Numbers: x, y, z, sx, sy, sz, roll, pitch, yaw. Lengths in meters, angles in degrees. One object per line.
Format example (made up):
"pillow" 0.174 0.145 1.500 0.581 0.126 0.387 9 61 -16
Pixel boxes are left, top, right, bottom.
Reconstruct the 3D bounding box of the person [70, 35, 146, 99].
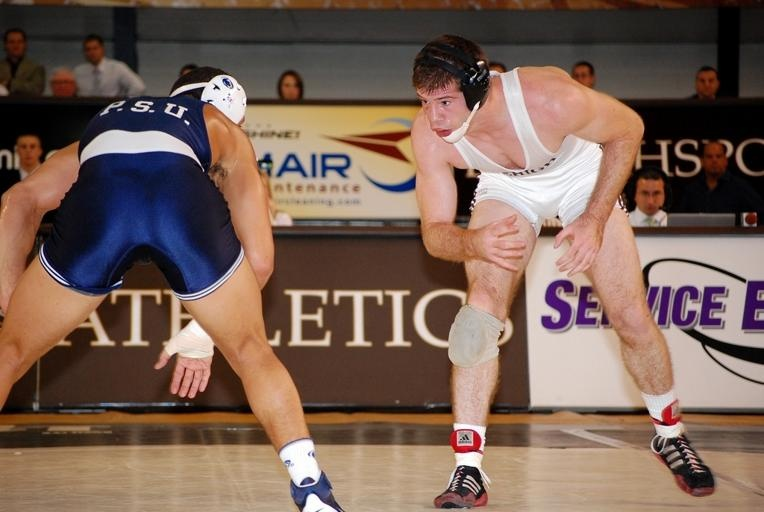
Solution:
"person" -3.822 -2.449 10.540 1.213 0.896 0.641 -4 19 -6

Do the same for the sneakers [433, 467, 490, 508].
"sneakers" 0.427 1.271 4.343 0.144 0.158 0.348 -6 -16 28

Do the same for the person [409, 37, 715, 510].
"person" 0.944 0.047 4.610 1.569 2.620 0.658 -1 2 -10

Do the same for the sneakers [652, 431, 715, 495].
"sneakers" 1.770 1.216 4.684 0.159 0.185 0.462 -24 32 -10
